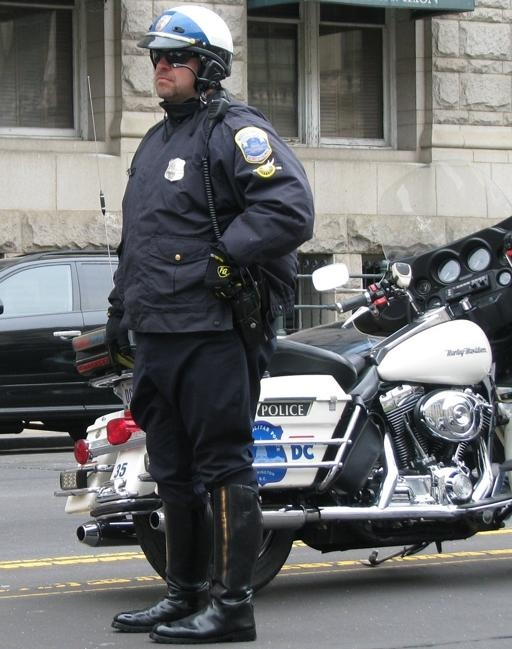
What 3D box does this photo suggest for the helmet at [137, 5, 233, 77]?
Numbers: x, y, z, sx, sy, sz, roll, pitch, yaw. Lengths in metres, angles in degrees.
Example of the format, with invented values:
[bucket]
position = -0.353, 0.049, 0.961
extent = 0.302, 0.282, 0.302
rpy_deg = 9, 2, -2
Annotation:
[helmet]
position = -0.238, -0.929, 3.730
extent = 0.313, 0.214, 0.243
rpy_deg = 1, 3, -35

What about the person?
[person]
position = -0.170, -0.026, 3.609
extent = 0.764, 2.073, 0.458
rpy_deg = 0, 2, 39

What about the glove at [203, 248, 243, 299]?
[glove]
position = -0.102, -0.150, 3.387
extent = 0.138, 0.134, 0.056
rpy_deg = 42, -19, -26
